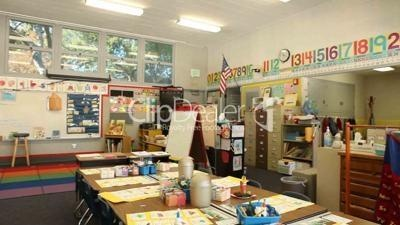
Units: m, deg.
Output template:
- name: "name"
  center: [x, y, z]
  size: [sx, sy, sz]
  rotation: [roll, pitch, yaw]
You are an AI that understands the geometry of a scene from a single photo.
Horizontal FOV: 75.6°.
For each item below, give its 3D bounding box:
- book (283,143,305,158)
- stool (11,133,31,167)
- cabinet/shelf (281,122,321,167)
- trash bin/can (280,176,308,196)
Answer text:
- name: "book"
  center: [3.382, 1.371, 9.332]
  size: [0.478, 0.196, 0.650]
  rotation: [0, 0, 44]
- name: "stool"
  center: [-7.127, 1.450, 10.182]
  size: [0.614, 1.220, 0.513]
  rotation: [-1, 1, -33]
- name: "cabinet/shelf"
  center: [3.592, 1.090, 9.108]
  size: [0.728, 1.479, 1.080]
  rotation: [-1, 1, -31]
- name: "trash bin/can"
  center: [2.487, 1.867, 6.824]
  size: [0.519, 0.448, 0.507]
  rotation: [1, 1, 18]
